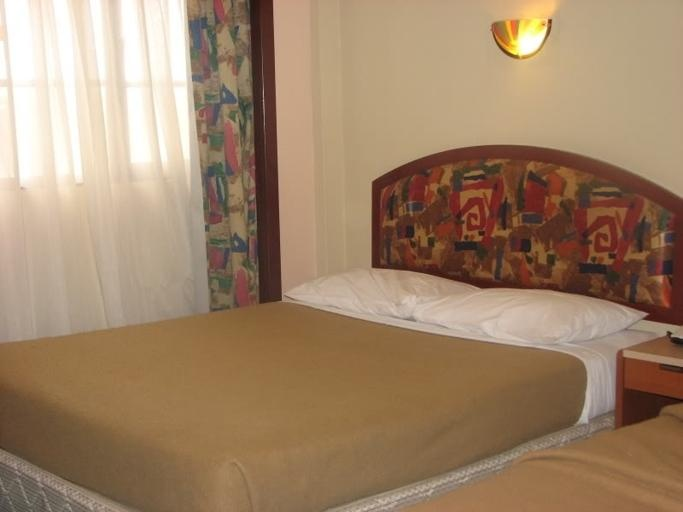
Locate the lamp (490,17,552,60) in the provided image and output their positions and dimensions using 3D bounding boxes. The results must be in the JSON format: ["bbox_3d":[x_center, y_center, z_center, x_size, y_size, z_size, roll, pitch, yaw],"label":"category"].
[{"bbox_3d":[1.080,-1.274,3.209,0.373,0.258,0.386,-8,25,3],"label":"lamp"}]
